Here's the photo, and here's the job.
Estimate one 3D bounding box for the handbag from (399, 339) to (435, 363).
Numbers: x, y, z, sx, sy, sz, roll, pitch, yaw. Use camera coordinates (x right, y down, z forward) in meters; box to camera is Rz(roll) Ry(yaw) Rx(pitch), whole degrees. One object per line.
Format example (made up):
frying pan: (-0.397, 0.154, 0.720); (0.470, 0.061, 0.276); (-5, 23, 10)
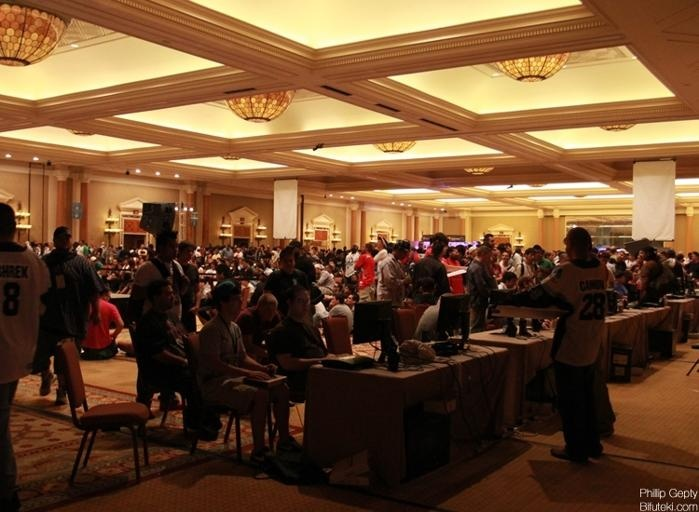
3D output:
handbag: (0.583, 0.829, 4.397); (0.204, 0.101, 0.233); (6, -9, -38)

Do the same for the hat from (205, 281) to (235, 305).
hat: (-1.146, 0.353, 4.602); (0.274, 0.244, 0.205); (11, 2, 20)

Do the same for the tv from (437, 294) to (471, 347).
tv: (1.005, 0.637, 4.883); (0.587, 0.542, 0.227); (0, 1, -45)

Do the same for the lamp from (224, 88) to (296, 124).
lamp: (-1.611, -2.715, 9.086); (1.032, 0.448, 0.812); (2, 1, 40)

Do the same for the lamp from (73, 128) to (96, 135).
lamp: (-5.943, -2.783, 11.299); (0.327, 0.069, 0.311); (2, -2, -16)

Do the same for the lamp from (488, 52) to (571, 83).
lamp: (2.588, -2.713, 7.191); (0.777, 0.303, 0.658); (0, 1, -37)

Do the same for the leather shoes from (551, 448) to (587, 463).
leather shoes: (1.933, 1.764, 4.483); (0.289, 0.106, 0.106); (10, 5, 33)
